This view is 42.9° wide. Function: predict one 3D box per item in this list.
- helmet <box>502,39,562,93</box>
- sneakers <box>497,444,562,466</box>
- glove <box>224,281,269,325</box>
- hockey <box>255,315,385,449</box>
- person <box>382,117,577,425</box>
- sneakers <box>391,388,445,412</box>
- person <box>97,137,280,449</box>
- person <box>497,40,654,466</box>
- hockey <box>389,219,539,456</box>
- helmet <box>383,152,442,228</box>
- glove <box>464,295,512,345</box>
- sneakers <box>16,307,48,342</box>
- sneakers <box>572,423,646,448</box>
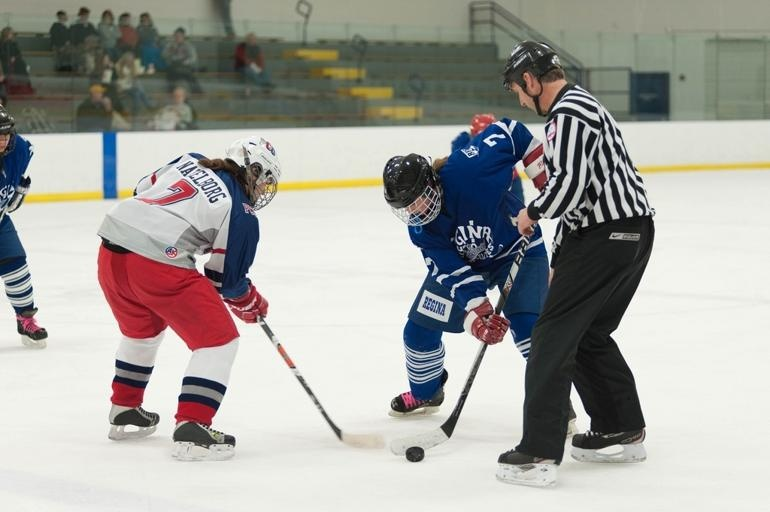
[{"bbox_3d":[0.698,-0.904,4.669,0.291,0.229,0.232,-1,12,30],"label":"helmet"},{"bbox_3d":[0.669,0.911,4.544,0.262,0.089,0.100,3,-5,10],"label":"sneakers"},{"bbox_3d":[-0.707,0.231,4.951,0.221,0.190,0.098,46,9,38],"label":"glove"},{"bbox_3d":[-0.361,0.721,5.449,0.126,0.118,1.016,-1,35,-47],"label":"hockey"},{"bbox_3d":[0.399,0.140,5.095,1.082,1.443,0.895,-13,11,-14],"label":"person"},{"bbox_3d":[0.159,0.775,5.287,0.328,0.124,0.099,-2,11,-13],"label":"sneakers"},{"bbox_3d":[-0.982,0.178,4.867,0.727,1.487,0.757,5,18,21],"label":"person"},{"bbox_3d":[0.902,0.013,4.546,0.717,1.971,0.714,0,17,6],"label":"person"},{"bbox_3d":[0.432,0.454,5.074,0.203,1.245,0.187,20,-7,41],"label":"hockey"},{"bbox_3d":[0.158,-0.325,4.915,0.365,0.258,0.354,-7,-26,19],"label":"helmet"},{"bbox_3d":[0.495,0.326,4.907,0.239,0.224,0.101,36,2,17],"label":"glove"},{"bbox_3d":[-2.205,0.422,6.154,0.292,0.178,0.099,16,21,32],"label":"sneakers"},{"bbox_3d":[1.067,0.862,4.725,0.342,0.118,0.113,1,-4,2],"label":"sneakers"}]
